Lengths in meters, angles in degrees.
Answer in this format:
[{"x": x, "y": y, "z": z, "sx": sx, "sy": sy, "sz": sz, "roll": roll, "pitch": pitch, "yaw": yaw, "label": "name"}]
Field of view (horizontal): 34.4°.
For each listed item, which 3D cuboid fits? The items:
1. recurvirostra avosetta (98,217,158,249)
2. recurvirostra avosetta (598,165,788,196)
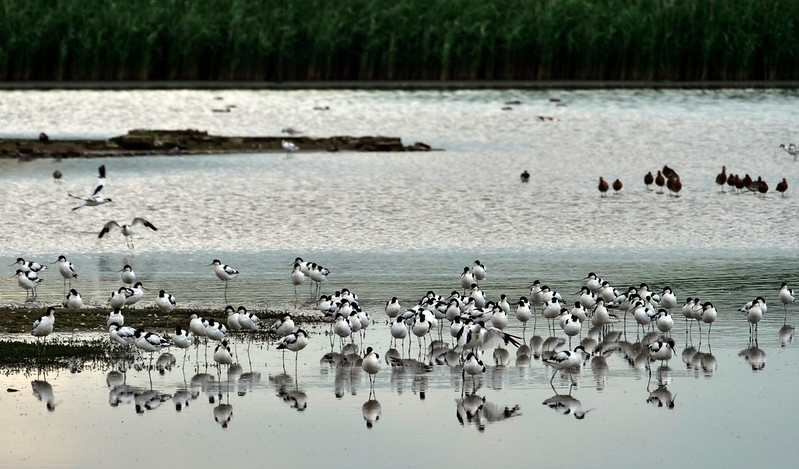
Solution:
[{"x": -14.790, "y": -0.281, "z": 69.627, "sx": 2.869, "sy": 1.104, "sz": 2.048, "roll": -9, "pitch": -5, "yaw": -2, "label": "recurvirostra avosetta"}, {"x": 18.591, "y": -3.454, "z": 81.539, "sx": 11.914, "sy": 1.571, "sz": 6.980, "roll": 0, "pitch": 8, "yaw": 8, "label": "recurvirostra avosetta"}]
